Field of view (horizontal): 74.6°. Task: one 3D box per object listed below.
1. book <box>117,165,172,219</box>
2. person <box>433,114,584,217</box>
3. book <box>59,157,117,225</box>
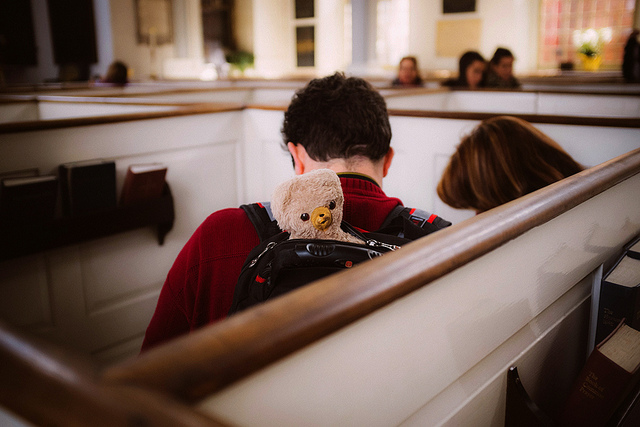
[{"bbox_3d":[-0.964,-0.095,2.325,0.042,0.302,0.226,26,26,35],"label":"book"},{"bbox_3d":[1.118,-0.346,2.670,0.797,0.746,0.605,12,50,44],"label":"person"},{"bbox_3d":[-1.152,-0.109,2.065,0.100,0.287,0.290,10,16,32],"label":"book"}]
